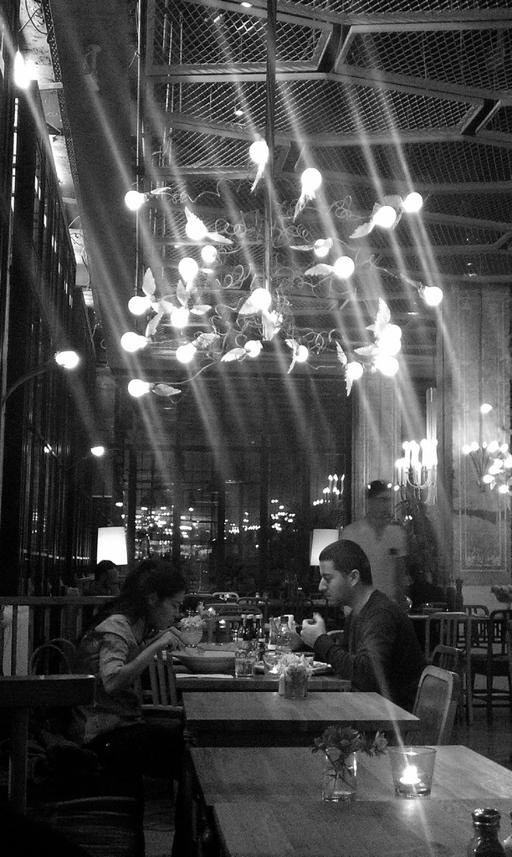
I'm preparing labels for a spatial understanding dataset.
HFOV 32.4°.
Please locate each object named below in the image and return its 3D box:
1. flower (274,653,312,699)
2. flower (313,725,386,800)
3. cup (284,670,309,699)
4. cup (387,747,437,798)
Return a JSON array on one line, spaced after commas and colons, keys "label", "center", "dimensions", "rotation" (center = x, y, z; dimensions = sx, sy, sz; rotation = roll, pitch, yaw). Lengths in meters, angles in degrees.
[{"label": "flower", "center": [0.120, 0.805, 2.859], "dimensions": [0.124, 0.186, 0.136], "rotation": [-1, -3, 3]}, {"label": "flower", "center": [0.158, 0.551, 1.499], "dimensions": [0.109, 0.127, 0.118], "rotation": [-1, -9, 2]}, {"label": "cup", "center": [0.132, 0.803, 2.793], "dimensions": [0.069, 0.110, 0.074], "rotation": [3, 1, 0]}, {"label": "cup", "center": [0.257, 0.564, 1.446], "dimensions": [0.073, 0.072, 0.073], "rotation": [0, -8, 0]}]
